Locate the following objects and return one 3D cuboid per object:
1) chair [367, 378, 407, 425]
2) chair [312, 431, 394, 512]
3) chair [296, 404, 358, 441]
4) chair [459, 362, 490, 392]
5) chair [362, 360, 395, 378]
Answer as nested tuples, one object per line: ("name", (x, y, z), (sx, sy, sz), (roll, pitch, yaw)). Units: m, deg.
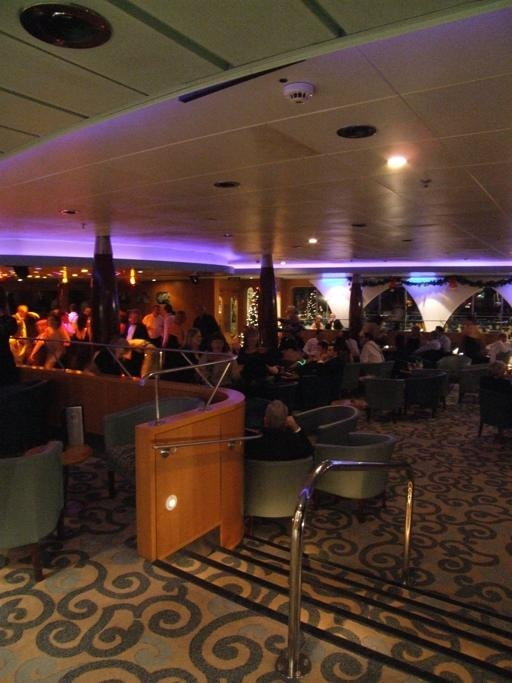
("chair", (1.924, 0.847, 7.741), (0.696, 0.756, 0.718), (1, 7, 15))
("chair", (0.806, 1.137, 4.345), (0.646, 0.662, 0.874), (3, 5, 11))
("chair", (0.682, 0.747, 4.886), (0.374, 0.377, 0.383), (-3, -9, 43))
("chair", (3.776, 0.654, 9.157), (0.636, 0.613, 0.630), (0, 0, 22))
("chair", (2.122, 0.502, 9.234), (0.450, 0.462, 0.427), (1, 0, 30))
